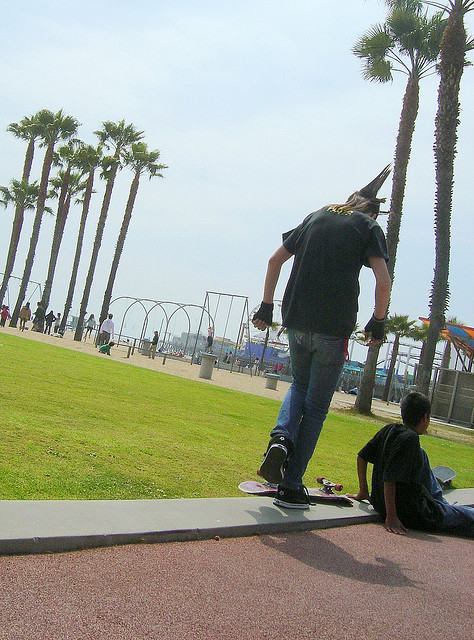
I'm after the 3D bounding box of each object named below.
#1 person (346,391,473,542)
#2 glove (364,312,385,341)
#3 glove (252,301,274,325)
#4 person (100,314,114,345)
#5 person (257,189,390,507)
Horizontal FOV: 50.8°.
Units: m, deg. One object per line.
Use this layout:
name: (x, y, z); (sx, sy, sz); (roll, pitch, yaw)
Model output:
person: (1.186, 1.117, 3.823); (1.118, 0.869, 0.707); (22, -16, -29)
glove: (0.862, 0.040, 3.095); (0.051, 0.165, 0.153); (7, 0, -30)
glove: (0.182, -0.053, 3.439); (0.139, 0.114, 0.269); (12, -5, -2)
person: (-7.132, 0.566, 27.312); (0.541, 1.409, 0.643); (12, -5, -16)
person: (0.466, 0.163, 3.130); (0.842, 1.373, 0.674); (10, -5, 15)
